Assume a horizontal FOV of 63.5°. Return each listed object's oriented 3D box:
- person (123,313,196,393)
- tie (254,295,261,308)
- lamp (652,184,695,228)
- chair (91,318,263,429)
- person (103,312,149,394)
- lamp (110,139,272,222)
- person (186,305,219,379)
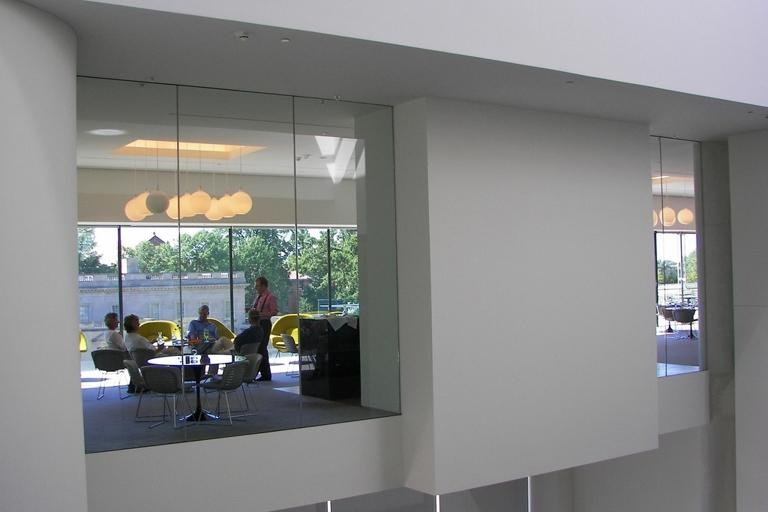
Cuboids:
[{"bbox_3d":[-2.528,0.982,7.040,0.685,0.857,0.656,11,20,4],"label":"person"},{"bbox_3d":[-1.459,0.510,7.214,0.119,0.165,0.036,-2,1,-26],"label":"tie"},{"bbox_3d":[4.742,-0.783,10.232,0.720,0.625,0.282,5,6,32],"label":"lamp"},{"bbox_3d":[-2.337,1.303,6.991,1.043,1.158,1.273,1,1,23],"label":"chair"},{"bbox_3d":[-2.735,1.024,6.654,0.135,0.906,0.455,-1,1,43],"label":"person"},{"bbox_3d":[-2.037,-0.899,7.264,1.679,0.828,0.840,-2,10,-37],"label":"lamp"},{"bbox_3d":[-2.022,1.006,7.008,0.311,0.894,0.311,-1,11,-25],"label":"person"}]
